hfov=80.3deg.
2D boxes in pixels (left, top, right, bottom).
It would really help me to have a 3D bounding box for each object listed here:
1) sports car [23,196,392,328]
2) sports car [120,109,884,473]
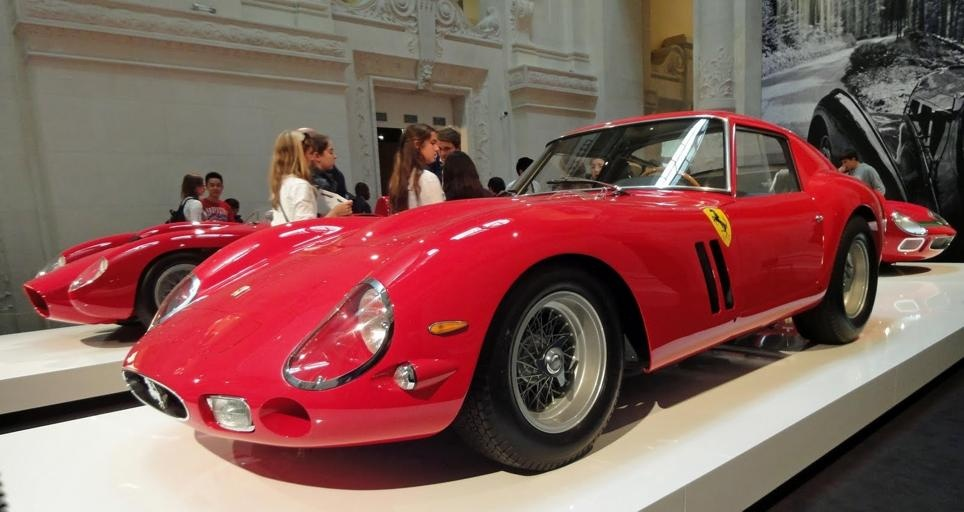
[{"bbox_3d":[-2.911,0.085,5.867,2.735,0.758,1.463,-4,2,-25],"label":"sports car"},{"bbox_3d":[0.499,0.303,4.225,4.936,1.458,2.678,-8,1,-29],"label":"sports car"}]
